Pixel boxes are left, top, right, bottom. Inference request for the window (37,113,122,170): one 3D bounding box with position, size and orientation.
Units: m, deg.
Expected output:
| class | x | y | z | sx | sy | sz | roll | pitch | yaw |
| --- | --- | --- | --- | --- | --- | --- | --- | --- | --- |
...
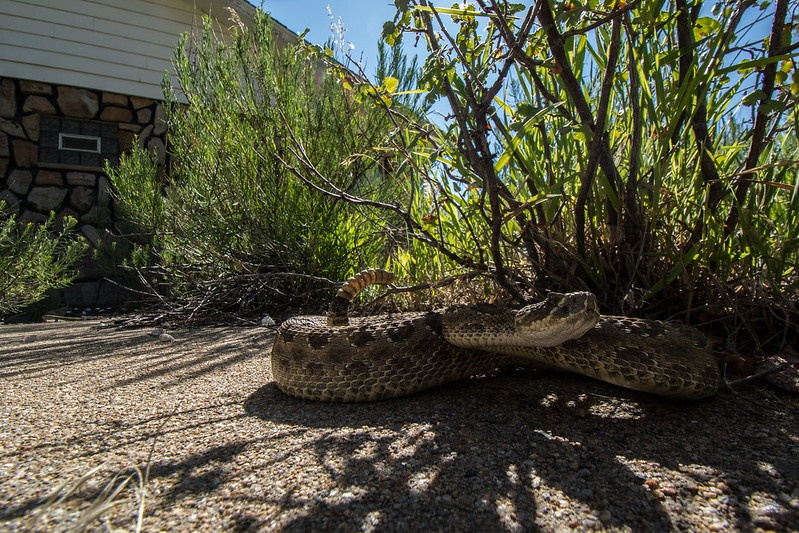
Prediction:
| class | x | y | z | sx | sy | sz | roll | pitch | yaw |
| --- | --- | --- | --- | --- | --- | --- | --- | --- | --- |
| window | -6.770 | -2.640 | 10.771 | 1.543 | 1.130 | 0.149 | 0 | 6 | -28 |
